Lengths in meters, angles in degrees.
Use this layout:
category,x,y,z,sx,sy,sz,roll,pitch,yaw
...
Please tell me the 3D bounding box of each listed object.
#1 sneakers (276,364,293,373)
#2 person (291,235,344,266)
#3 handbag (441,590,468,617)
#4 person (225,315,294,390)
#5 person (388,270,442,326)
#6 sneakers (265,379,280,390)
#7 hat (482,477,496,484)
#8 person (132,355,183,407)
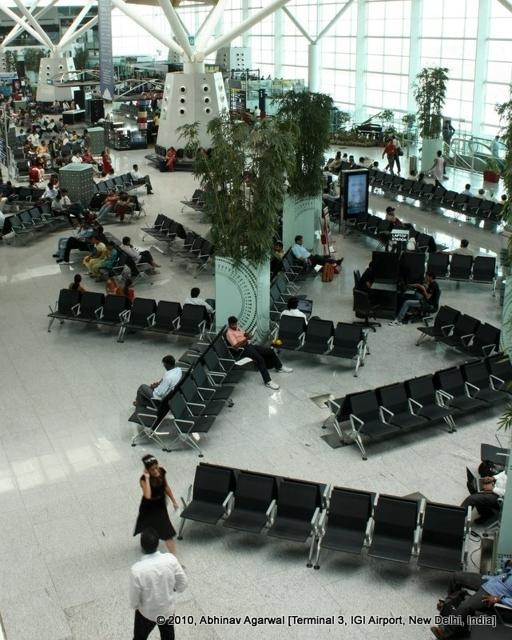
category,x,y,z,sx,sy,sz,roll,pitch,yaw
sneakers,0.520,0.874,9.498,0.299,0.121,0.115,-1,17,3
person,1.636,-1.744,14.272,1.373,0.727,0.756,10,42,9
handbag,1.524,2.186,4.075,0.155,0.122,0.241,-9,37,41
person,0.028,0.466,9.187,1.028,1.135,0.647,9,31,34
person,3.519,-0.451,11.411,0.944,1.232,0.630,12,7,20
sneakers,0.279,1.079,8.911,0.221,0.084,0.118,20,33,36
hat,2.486,1.733,5.645,0.084,0.046,0.112,-3,0,4
person,-1.512,0.949,8.069,0.501,0.763,0.379,37,42,9
